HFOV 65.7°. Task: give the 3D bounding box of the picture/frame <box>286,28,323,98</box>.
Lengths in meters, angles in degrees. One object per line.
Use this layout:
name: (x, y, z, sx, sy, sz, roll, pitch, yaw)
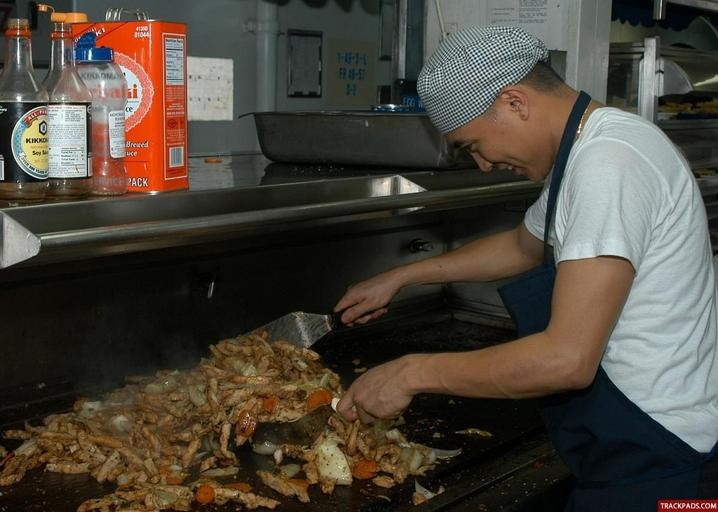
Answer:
picture/frame: (-0.248, -0.879, 2.566, 0.062, 0.287, 0.231, 13, 24, 33)
